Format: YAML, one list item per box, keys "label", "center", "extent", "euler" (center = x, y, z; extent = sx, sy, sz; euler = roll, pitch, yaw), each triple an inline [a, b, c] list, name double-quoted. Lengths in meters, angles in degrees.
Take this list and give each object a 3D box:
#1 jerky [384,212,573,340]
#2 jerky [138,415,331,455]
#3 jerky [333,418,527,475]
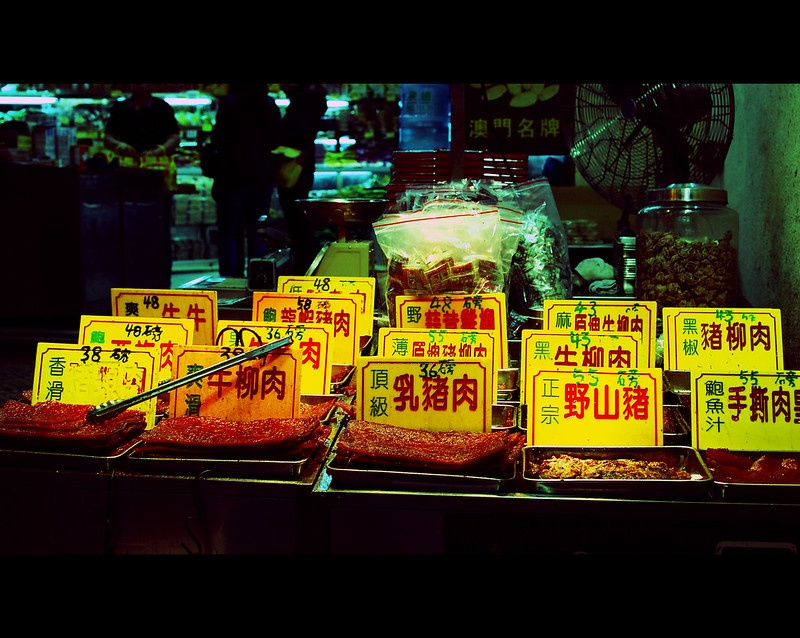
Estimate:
- label: "jerky"
  center: [0.234, -0.199, 2.885]
  extent: [0.496, 0.406, 0.344]
  euler: [1, 13, 15]
- label: "jerky"
  center: [-0.408, 0.276, 2.144]
  extent: [0.245, 0.043, 0.158]
  euler: [1, 5, 1]
- label: "jerky"
  center: [0.057, 0.290, 2.133]
  extent: [0.392, 0.072, 0.220]
  euler: [3, 16, 2]
